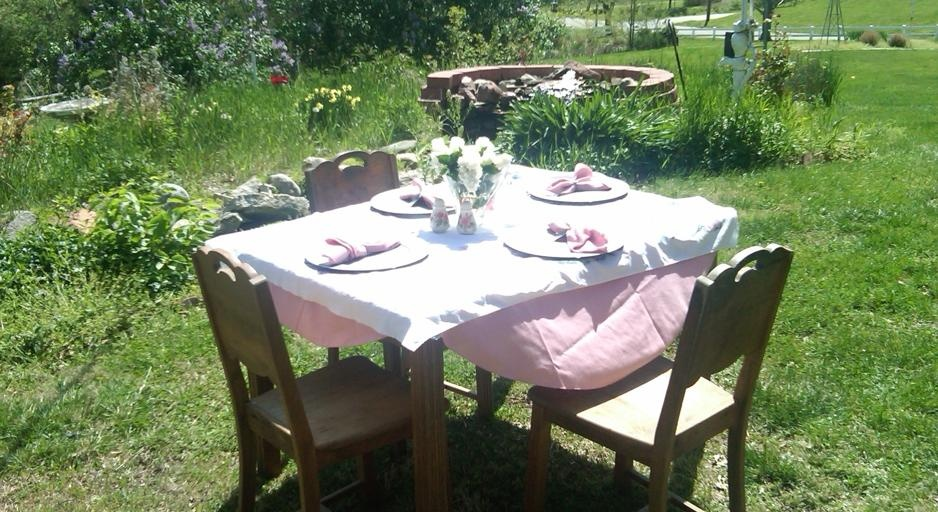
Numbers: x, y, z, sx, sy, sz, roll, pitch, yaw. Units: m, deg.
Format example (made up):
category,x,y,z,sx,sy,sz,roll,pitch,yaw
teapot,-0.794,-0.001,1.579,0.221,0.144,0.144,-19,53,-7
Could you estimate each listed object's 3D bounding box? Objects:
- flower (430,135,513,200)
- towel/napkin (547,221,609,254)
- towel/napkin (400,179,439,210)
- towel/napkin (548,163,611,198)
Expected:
category,x,y,z,sx,sy,sz,roll,pitch,yaw
flower,0.006,-0.876,6.688,0.586,0.407,0.603,15,21,28
towel/napkin,0.962,-0.178,6.457,0.333,0.101,0.337,24,19,36
towel/napkin,-0.472,-0.592,7.033,0.321,0.107,0.317,-29,49,-32
towel/napkin,1.080,-0.730,7.168,0.403,0.135,0.422,8,17,31
